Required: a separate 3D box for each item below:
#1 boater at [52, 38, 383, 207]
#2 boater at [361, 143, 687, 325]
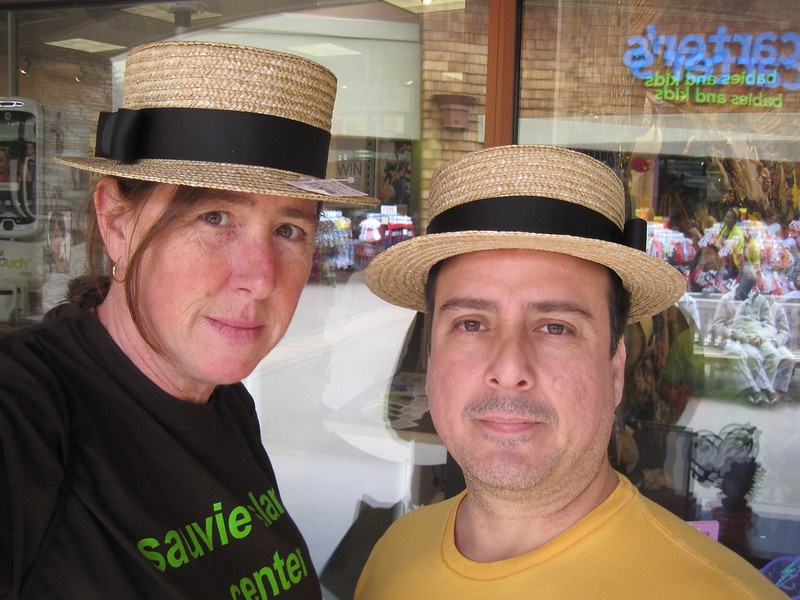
[{"bbox_3d":[-0.632,-0.636,2.629,1.206,0.460,1.240,3,10,5],"label":"boater"},{"bbox_3d":[0.450,-0.270,2.454,0.842,0.284,0.722,0,-10,1],"label":"boater"}]
